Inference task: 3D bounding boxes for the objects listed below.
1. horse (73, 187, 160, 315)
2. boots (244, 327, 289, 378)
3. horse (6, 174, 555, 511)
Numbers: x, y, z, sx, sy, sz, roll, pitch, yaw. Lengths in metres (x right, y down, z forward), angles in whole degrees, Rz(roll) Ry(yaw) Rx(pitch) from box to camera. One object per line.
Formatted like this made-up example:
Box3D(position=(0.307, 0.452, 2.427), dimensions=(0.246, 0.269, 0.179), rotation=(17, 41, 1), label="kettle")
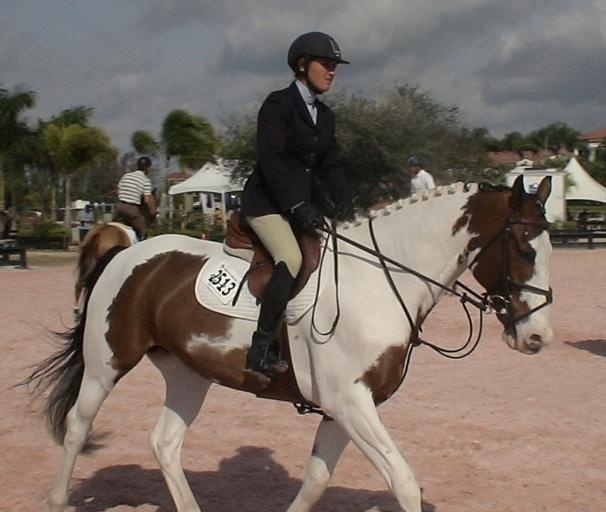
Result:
Box3D(position=(-1.528, -0.050, 6.077), dimensions=(0.259, 0.809, 1.029), rotation=(16, 13, 14), label="horse")
Box3D(position=(-0.209, 0.602, 4.549), dimensions=(0.330, 0.303, 0.212), rotation=(11, 3, -43), label="boots")
Box3D(position=(-0.133, 0.611, 4.648), dimensions=(3.214, 2.177, 0.768), rotation=(1, 5, 18), label="horse")
